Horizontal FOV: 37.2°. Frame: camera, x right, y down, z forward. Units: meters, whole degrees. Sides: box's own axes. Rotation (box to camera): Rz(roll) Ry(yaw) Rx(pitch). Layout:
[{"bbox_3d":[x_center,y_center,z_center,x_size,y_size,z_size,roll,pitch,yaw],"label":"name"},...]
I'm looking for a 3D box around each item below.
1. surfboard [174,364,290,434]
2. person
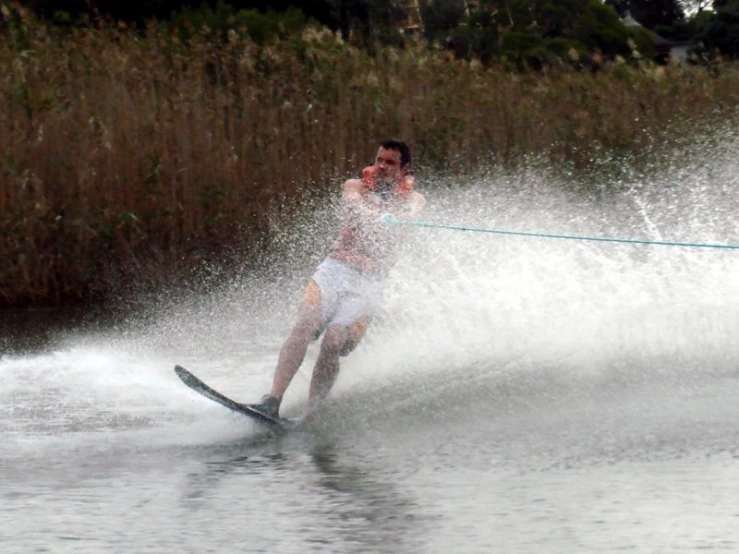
[{"bbox_3d":[-0.884,0.795,7.043,0.646,0.096,0.090,32,-26,-15],"label":"surfboard"},{"bbox_3d":[-0.138,-0.024,7.312,0.815,1.693,1.579,0,14,14],"label":"person"}]
